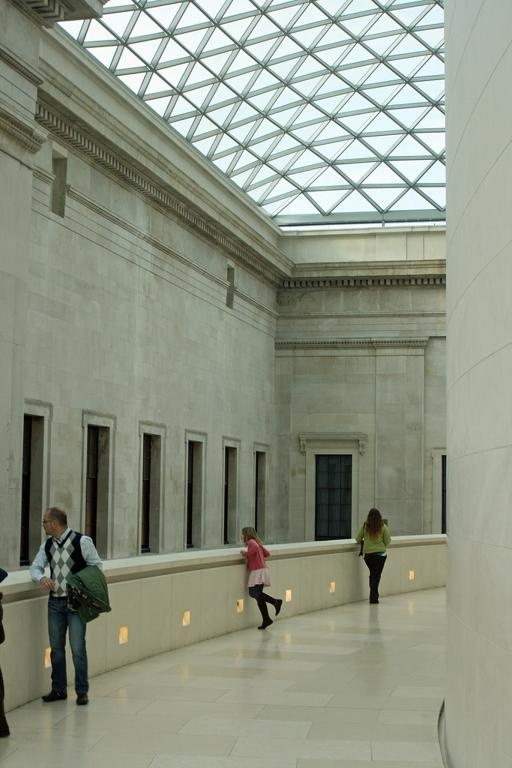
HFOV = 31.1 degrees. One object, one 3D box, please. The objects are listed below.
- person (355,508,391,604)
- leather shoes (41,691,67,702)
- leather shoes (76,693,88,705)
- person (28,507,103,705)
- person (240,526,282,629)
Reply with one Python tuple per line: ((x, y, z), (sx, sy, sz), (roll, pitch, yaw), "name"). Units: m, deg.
((1.893, 2.806, 15.070), (0.518, 1.539, 0.633), (4, -4, -2), "person")
((-1.591, 2.472, 7.294), (0.185, 0.091, 0.075), (2, -6, 1), "leather shoes")
((-1.351, 2.467, 7.242), (0.044, 0.101, 0.133), (1, -3, 5), "leather shoes")
((-1.545, 1.753, 7.363), (0.592, 1.504, 0.278), (3, -4, 14), "person")
((0.025, 2.516, 11.981), (0.604, 1.310, 0.359), (7, -5, -36), "person")
